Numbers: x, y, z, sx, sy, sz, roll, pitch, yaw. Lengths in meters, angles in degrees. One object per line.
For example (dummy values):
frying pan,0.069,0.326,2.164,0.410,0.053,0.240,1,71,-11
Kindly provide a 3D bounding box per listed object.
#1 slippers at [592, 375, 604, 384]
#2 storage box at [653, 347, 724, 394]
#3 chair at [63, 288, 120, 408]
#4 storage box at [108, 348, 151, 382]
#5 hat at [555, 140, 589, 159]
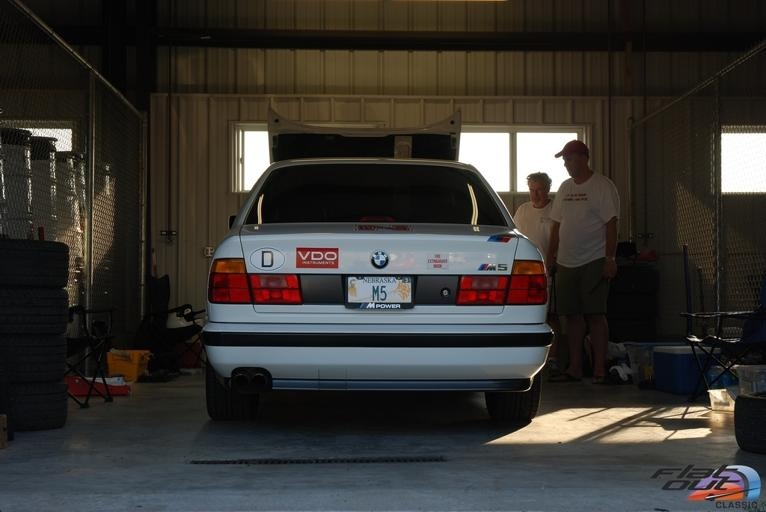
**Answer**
slippers,2.251,1.288,9.368,0.077,0.083,0.030,4,-9,6
storage box,2.933,1.206,8.878,0.542,0.462,0.582,9,-20,23
chair,-3.021,0.934,9.191,0.461,0.907,2.516,1,-1,-18
storage box,-2.797,1.171,9.772,0.337,0.329,0.487,0,-2,3
hat,1.989,-1.111,9.357,0.274,0.164,0.192,-1,3,-2
